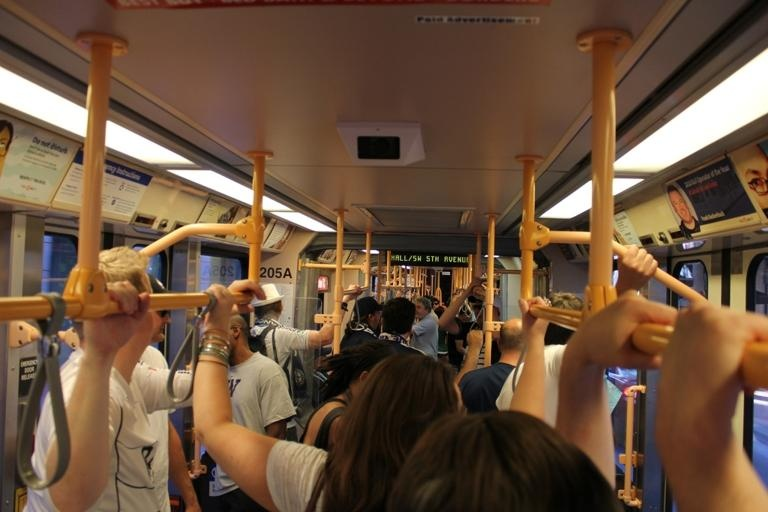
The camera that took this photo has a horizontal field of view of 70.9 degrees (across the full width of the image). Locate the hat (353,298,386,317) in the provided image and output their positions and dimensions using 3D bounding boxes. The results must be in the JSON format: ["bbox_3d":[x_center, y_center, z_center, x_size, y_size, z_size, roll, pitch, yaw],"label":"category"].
[{"bbox_3d":[-0.182,0.617,6.637,0.321,0.183,0.210,-19,20,-29],"label":"hat"}]
